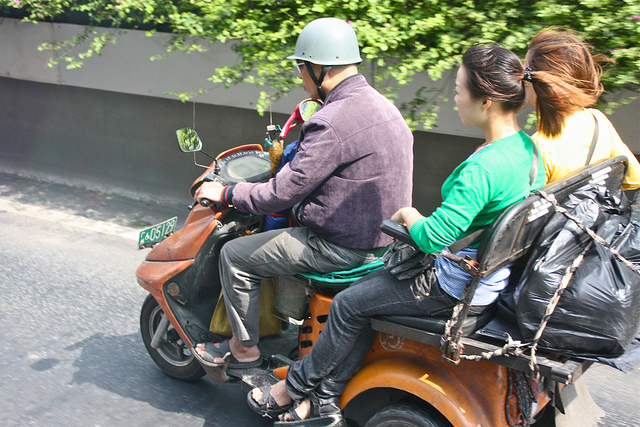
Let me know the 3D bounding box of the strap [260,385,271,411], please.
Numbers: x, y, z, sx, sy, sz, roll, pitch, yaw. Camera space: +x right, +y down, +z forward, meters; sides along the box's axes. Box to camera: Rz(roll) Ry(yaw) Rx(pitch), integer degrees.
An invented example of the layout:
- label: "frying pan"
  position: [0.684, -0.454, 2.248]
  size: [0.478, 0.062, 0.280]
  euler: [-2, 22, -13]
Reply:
- label: "strap"
  position: [-0.406, 1.358, 4.714]
  size: [0.065, 0.169, 0.047]
  euler: [7, -21, 17]

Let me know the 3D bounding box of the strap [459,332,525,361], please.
- label: "strap"
  position: [1.130, 0.816, 3.979]
  size: [0.549, 0.184, 0.250]
  euler: [-15, -19, 36]

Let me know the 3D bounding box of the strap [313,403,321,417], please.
- label: "strap"
  position: [-0.023, 1.386, 4.503]
  size: [0.066, 0.071, 0.058]
  euler: [-17, -12, 6]

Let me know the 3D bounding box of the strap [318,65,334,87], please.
- label: "strap"
  position: [0.033, -1.001, 4.599]
  size: [0.102, 0.145, 0.048]
  euler: [16, 14, 42]

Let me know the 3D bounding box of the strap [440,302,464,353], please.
- label: "strap"
  position: [0.827, 0.696, 4.016]
  size: [0.092, 0.369, 0.077]
  euler: [20, -8, -38]

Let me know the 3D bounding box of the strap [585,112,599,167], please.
- label: "strap"
  position: [2.035, -0.558, 4.749]
  size: [0.074, 0.370, 0.155]
  euler: [11, 11, 21]

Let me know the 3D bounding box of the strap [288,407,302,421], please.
- label: "strap"
  position: [-0.178, 1.431, 4.560]
  size: [0.104, 0.041, 0.029]
  euler: [48, -6, 17]

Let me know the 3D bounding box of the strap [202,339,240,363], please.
- label: "strap"
  position: [-0.820, 1.080, 5.039]
  size: [0.352, 0.127, 0.124]
  euler: [14, 4, -8]

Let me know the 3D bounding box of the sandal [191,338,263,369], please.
- label: "sandal"
  position: [-0.755, 1.116, 5.028]
  size: [0.454, 0.151, 0.234]
  euler: [4, 22, -2]
